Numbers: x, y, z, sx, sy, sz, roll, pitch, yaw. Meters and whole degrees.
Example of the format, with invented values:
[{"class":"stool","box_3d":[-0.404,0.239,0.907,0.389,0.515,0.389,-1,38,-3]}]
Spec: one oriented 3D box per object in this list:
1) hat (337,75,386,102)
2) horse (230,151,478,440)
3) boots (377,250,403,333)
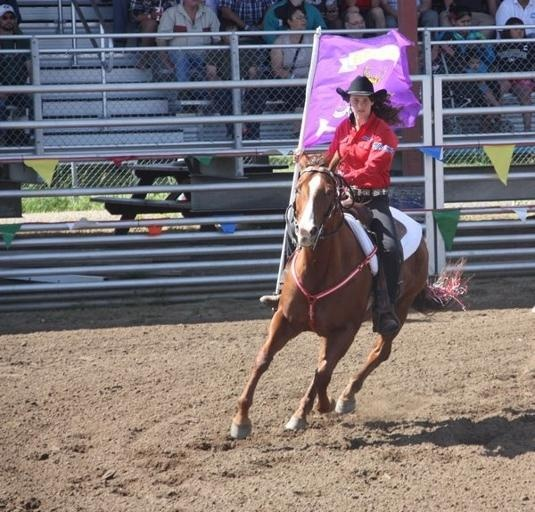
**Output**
[{"class":"hat","box_3d":[0.783,-1.450,7.513,0.442,0.178,0.471,0,-10,5]},{"class":"horse","box_3d":[0.930,0.215,7.807,0.964,2.360,3.951,5,13,30]},{"class":"boots","box_3d":[1.004,0.280,7.205,0.175,0.685,0.436,4,13,25]}]
